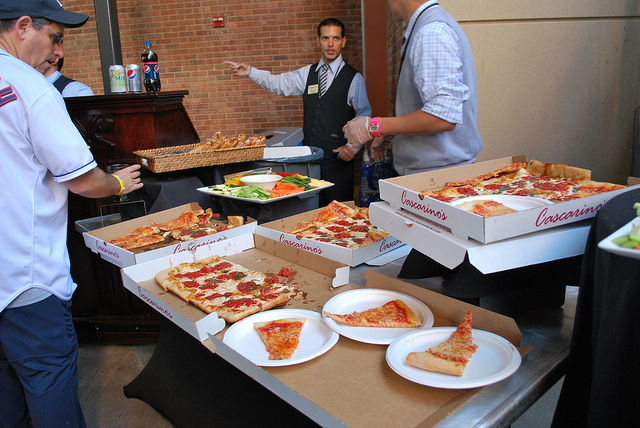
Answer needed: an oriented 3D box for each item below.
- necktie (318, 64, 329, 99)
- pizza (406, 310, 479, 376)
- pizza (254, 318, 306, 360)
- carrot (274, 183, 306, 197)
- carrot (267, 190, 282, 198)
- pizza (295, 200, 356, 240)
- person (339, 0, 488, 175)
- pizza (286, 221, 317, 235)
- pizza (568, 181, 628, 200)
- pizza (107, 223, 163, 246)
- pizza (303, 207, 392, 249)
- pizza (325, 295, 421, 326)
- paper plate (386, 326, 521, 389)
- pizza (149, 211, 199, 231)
[{"bbox_3d":[0.037,-1.264,4.355,0.063,0.358,0.049,7,2,20],"label":"necktie"},{"bbox_3d":[0.432,0.411,1.470,0.175,0.039,0.353,5,14,32],"label":"pizza"},{"bbox_3d":[-0.139,0.412,1.510,0.185,0.026,0.247,-1,17,-2],"label":"pizza"},{"bbox_3d":[-0.169,-0.128,2.408,0.091,0.026,0.092,-22,34,-36],"label":"carrot"},{"bbox_3d":[-0.242,-0.107,2.372,0.047,0.013,0.044,7,27,-22],"label":"carrot"},{"bbox_3d":[0.014,0.007,2.170,0.127,0.035,0.307,20,32,32],"label":"pizza"},{"bbox_3d":[0.525,-0.619,2.367,0.617,0.906,0.443,9,29,25],"label":"person"},{"bbox_3d":[-0.092,0.063,2.121,0.069,0.019,0.071,-29,21,-36],"label":"pizza"},{"bbox_3d":[1.005,-0.092,1.666,0.142,0.019,0.132,-27,21,-27],"label":"pizza"},{"bbox_3d":[-0.886,0.077,2.180,0.082,0.034,0.209,21,29,36],"label":"pizza"},{"bbox_3d":[0.134,0.045,2.030,0.308,0.443,0.026,21,60,-18],"label":"pizza"},{"bbox_3d":[0.186,0.339,1.550,0.205,0.022,0.118,-4,19,-7],"label":"pizza"},{"bbox_3d":[0.400,0.428,1.384,0.391,0.046,0.235,0,25,8],"label":"paper plate"},{"bbox_3d":[-0.733,0.013,2.281,0.108,0.052,0.159,5,26,44],"label":"pizza"}]
